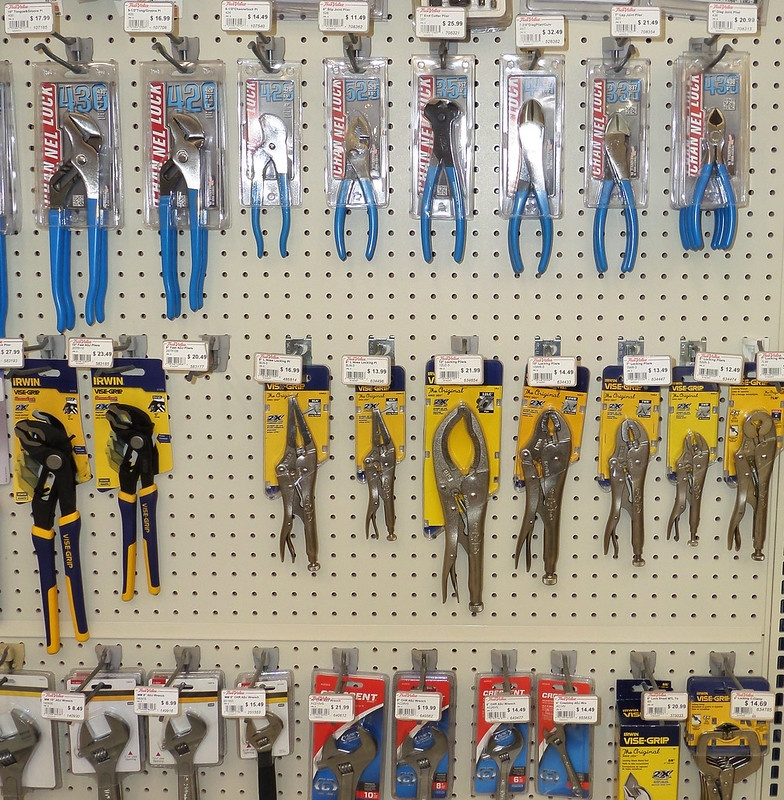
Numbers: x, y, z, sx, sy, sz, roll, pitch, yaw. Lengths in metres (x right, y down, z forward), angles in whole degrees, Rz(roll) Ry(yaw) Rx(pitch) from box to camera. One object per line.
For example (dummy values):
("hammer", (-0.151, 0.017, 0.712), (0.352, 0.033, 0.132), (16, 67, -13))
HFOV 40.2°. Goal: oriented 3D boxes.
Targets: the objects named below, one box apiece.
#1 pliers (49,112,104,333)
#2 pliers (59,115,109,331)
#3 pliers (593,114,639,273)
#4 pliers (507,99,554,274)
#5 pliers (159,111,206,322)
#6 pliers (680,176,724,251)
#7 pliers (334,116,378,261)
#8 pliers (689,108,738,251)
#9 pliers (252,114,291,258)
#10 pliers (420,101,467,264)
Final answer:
("pliers", (-0.605, -0.337, 2.054), (0.108, 0.396, 0.104), (0, 14, -17))
("pliers", (-0.620, -0.345, 2.125), (0.098, 0.517, 0.036), (-18, 53, -33))
("pliers", (0.426, -0.386, 2.014), (0.080, 0.280, 0.074), (6, 13, 9))
("pliers", (0.263, -0.412, 2.039), (0.073, 0.390, 0.033), (10, 45, 17))
("pliers", (-0.402, -0.352, 2.046), (0.091, 0.362, 0.083), (1, 13, -13))
("pliers", (0.588, -0.370, 2.040), (0.052, 0.162, 0.031), (0, 11, 5))
("pliers", (-0.071, -0.397, 2.031), (0.072, 0.024, 0.381), (-1, 58, 1))
("pliers", (0.607, -0.406, 2.005), (0.082, 0.256, 0.106), (13, 16, 32))
("pliers", (-0.233, -0.406, 2.039), (0.079, 0.255, 0.073), (2, 13, -10))
("pliers", (0.097, -0.409, 2.021), (0.093, 0.293, 0.077), (4, 13, 1))
